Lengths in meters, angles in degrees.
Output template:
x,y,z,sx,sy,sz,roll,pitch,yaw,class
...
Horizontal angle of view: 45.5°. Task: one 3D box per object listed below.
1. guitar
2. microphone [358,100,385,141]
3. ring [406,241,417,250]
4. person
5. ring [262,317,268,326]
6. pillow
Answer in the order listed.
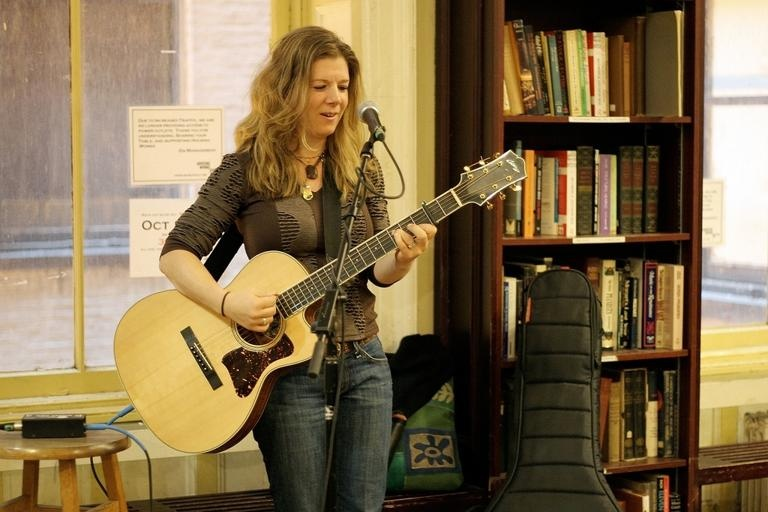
x,y,z,sx,sy,sz,roll,pitch,yaw,class
-0.206,0.124,3.827,2.141,0.834,0.225,-33,-12,-2,guitar
-0.052,-0.525,3.530,0.060,0.204,0.063,-33,-43,5,microphone
0.108,-0.046,3.648,0.033,0.024,0.009,-50,-2,5,ring
-0.329,0.053,3.679,1.012,1.868,0.453,-1,0,-14,person
-0.479,0.257,3.623,0.030,0.030,0.007,-4,4,-17,ring
0.204,0.910,4.462,0.401,0.408,0.166,-2,-16,-16,pillow
